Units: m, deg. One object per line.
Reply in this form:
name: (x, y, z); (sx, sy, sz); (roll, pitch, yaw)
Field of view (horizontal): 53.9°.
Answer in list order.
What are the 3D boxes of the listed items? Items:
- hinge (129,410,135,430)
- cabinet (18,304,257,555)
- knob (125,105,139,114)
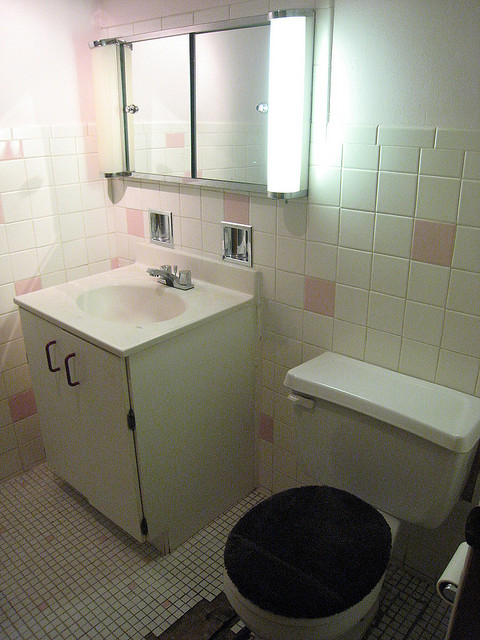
hinge: (-0.298, 0.275, 1.302); (0.014, 0.062, 0.014); (-4, 12, -16)
cabinet: (-0.390, 0.225, 1.688); (0.621, 0.914, 0.715); (-18, 38, -29)
knob: (-0.395, -0.775, 1.734); (0.036, 0.013, 0.027); (9, -2, 45)
